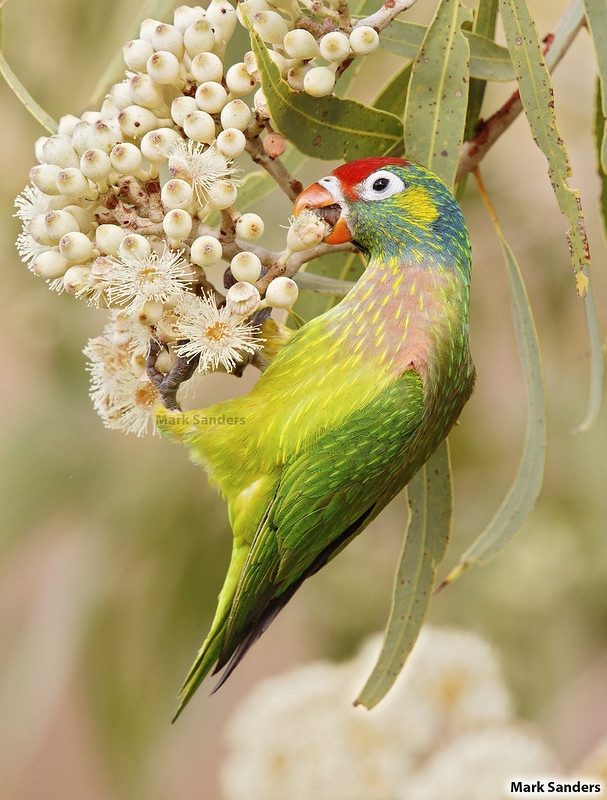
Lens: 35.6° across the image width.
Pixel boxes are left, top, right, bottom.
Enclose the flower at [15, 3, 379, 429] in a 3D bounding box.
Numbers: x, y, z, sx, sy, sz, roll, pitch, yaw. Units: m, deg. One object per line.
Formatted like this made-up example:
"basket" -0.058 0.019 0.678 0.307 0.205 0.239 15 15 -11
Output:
"flower" -0.138 -0.183 1.018 0.401 0.221 0.434 11 -105 -21
